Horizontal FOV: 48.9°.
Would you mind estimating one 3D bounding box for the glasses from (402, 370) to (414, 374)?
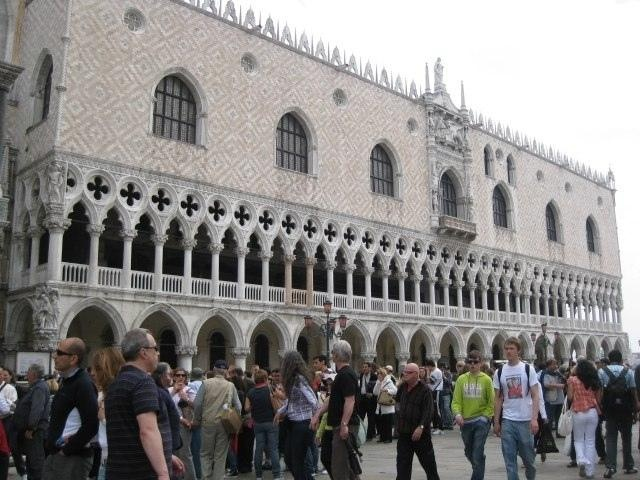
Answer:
[{"bbox_3d":[1.309,1.989,10.515,0.098,0.030,0.096,13,-18,-32],"label":"glasses"}]

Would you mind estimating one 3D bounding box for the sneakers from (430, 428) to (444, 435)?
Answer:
[{"bbox_3d":[3.046,4.971,18.219,0.125,0.178,0.380,6,-10,-29],"label":"sneakers"}]

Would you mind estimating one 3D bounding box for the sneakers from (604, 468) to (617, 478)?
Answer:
[{"bbox_3d":[4.829,3.902,11.685,0.105,0.115,0.276,2,-51,-4],"label":"sneakers"}]

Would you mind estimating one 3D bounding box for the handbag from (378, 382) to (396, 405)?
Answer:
[{"bbox_3d":[1.556,3.676,16.391,0.384,0.383,0.582,-2,-15,6],"label":"handbag"}]

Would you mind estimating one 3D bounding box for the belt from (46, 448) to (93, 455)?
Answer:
[{"bbox_3d":[-2.930,2.501,8.238,0.488,0.100,0.262,5,-16,-18],"label":"belt"}]

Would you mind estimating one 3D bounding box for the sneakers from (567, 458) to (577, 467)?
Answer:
[{"bbox_3d":[4.613,4.135,12.906,0.205,0.099,0.072,-13,-14,37],"label":"sneakers"}]

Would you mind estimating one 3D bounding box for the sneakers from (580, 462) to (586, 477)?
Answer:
[{"bbox_3d":[4.375,3.831,11.672,0.075,0.242,0.095,-3,-10,22],"label":"sneakers"}]

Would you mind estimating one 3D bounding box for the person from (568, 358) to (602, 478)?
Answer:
[{"bbox_3d":[4.553,3.033,11.978,0.528,1.969,0.485,-4,-14,16],"label":"person"}]

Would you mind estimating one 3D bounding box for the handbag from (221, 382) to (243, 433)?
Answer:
[{"bbox_3d":[-1.486,2.834,11.775,0.285,0.895,0.839,-4,-23,2],"label":"handbag"}]
